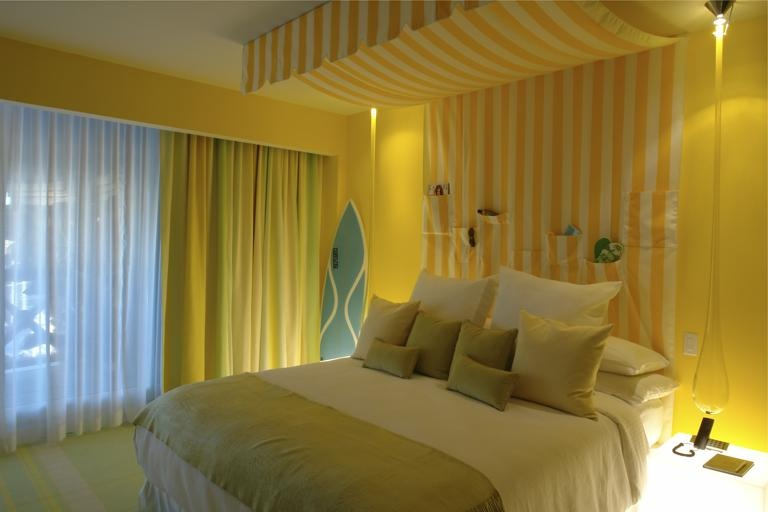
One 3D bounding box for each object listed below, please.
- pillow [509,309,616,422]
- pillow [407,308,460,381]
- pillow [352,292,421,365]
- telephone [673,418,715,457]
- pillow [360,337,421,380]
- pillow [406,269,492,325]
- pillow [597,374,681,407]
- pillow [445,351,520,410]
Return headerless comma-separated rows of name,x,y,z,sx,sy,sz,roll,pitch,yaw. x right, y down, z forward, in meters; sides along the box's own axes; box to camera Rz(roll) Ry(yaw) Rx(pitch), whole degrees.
pillow,1.150,0.724,3.819,0.684,0.597,0.332,12,24,42
pillow,0.381,0.688,4.312,0.269,0.463,0.501,-1,9,-40
pillow,-0.006,0.636,4.612,0.296,0.521,0.567,-8,9,-42
telephone,2.100,1.231,3.774,0.298,0.196,0.148,-7,6,-19
pillow,0.051,0.784,4.238,0.486,0.206,0.207,4,19,42
pillow,0.528,0.357,4.575,0.668,0.467,0.239,8,-6,32
pillow,1.776,0.919,3.909,0.292,0.093,0.307,-1,-2,-27
pillow,0.648,0.879,3.856,0.493,0.289,0.194,9,-26,40
